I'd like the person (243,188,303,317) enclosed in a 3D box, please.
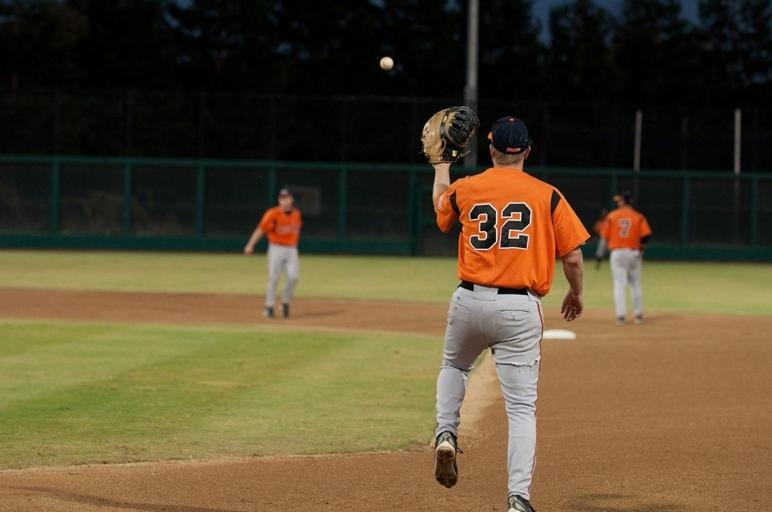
[{"bbox_3d":[-2.051,0.016,26.160,0.883,2.297,1.508,0,1,-6],"label":"person"}]

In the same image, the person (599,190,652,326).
[{"bbox_3d":[4.577,0.111,27.221,1.033,2.549,0.835,-3,0,14],"label":"person"}]

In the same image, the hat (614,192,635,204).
[{"bbox_3d":[4.705,-1.035,27.870,0.360,0.308,0.582,-1,5,-4],"label":"hat"}]

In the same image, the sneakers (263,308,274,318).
[{"bbox_3d":[-2.148,1.104,25.499,0.174,0.192,0.175,-1,7,-16],"label":"sneakers"}]
